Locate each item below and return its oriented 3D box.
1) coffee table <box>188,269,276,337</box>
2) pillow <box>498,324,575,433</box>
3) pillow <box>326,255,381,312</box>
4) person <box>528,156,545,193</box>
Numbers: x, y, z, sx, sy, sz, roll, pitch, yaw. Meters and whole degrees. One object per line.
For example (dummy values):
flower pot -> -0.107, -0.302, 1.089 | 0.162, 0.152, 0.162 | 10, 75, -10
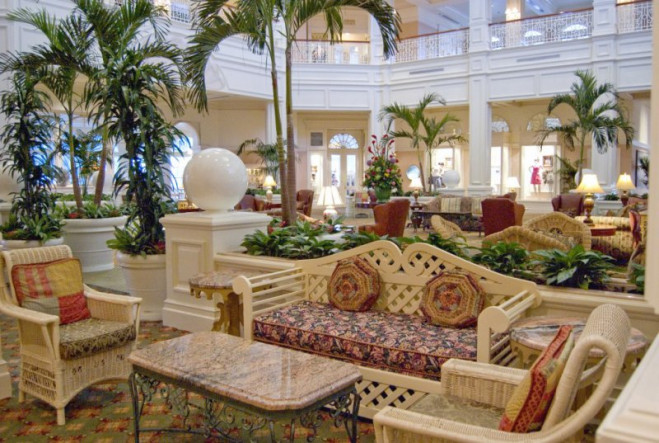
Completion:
coffee table -> -0.822, 0.619, 3.825 | 0.573, 0.520, 0.546 | 2, 5, 2
pillow -> 0.844, 0.638, 1.847 | 0.189, 0.484, 0.501 | 12, 6, 34
pillow -> 0.165, 0.457, 3.313 | 0.379, 0.371, 0.125 | 1, -4, 37
person -> 6.825, -1.505, 14.968 | 0.398, 1.120, 0.246 | 1, 8, 19
